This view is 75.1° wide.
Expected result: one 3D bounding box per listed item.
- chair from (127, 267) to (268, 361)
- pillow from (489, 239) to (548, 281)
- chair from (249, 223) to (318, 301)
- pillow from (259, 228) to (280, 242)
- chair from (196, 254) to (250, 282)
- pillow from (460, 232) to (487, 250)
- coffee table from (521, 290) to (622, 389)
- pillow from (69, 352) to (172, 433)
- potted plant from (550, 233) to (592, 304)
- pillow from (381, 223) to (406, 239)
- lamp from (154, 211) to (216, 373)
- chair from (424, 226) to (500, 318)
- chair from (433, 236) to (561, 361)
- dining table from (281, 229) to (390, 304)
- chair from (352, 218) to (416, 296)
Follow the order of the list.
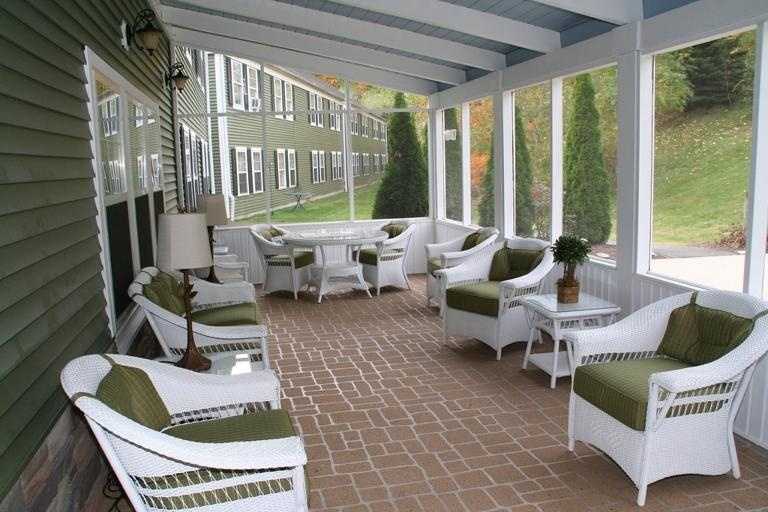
[{"bbox_3d":[-1.639,0.573,4.570,1.251,0.686,1.187,-3,21,-31],"label":"chair"},{"bbox_3d":[1.515,0.075,5.788,0.459,0.443,0.179,12,-4,40],"label":"pillow"},{"bbox_3d":[-1.625,0.061,8.128,1.051,0.999,1.069,4,8,12],"label":"chair"},{"bbox_3d":[-1.880,-0.360,8.262,0.078,0.175,0.563,-13,-5,28],"label":"pillow"},{"bbox_3d":[-2.143,0.093,6.908,0.517,0.552,0.439,-2,8,-5],"label":"chair"},{"bbox_3d":[1.223,-0.206,6.936,0.091,0.276,0.224,30,-32,-25],"label":"pillow"},{"bbox_3d":[1.741,0.677,4.969,0.989,0.848,0.886,-4,9,-25],"label":"coffee table"},{"bbox_3d":[-1.328,0.731,2.700,0.505,0.427,0.497,11,-27,-38],"label":"pillow"},{"bbox_3d":[1.762,0.136,4.892,0.449,0.622,0.428,2,-3,-35],"label":"potted plant"},{"bbox_3d":[0.165,-0.453,8.533,0.280,0.279,0.337,-3,-13,-4],"label":"pillow"},{"bbox_3d":[-1.494,0.316,3.825,0.384,1.300,0.621,-8,16,-23],"label":"lamp"},{"bbox_3d":[1.179,0.221,7.251,1.172,1.403,1.276,0,2,-11],"label":"chair"},{"bbox_3d":[1.318,0.414,5.681,1.224,1.125,1.209,-4,8,-17],"label":"chair"},{"bbox_3d":[-0.739,0.026,7.856,1.458,0.824,1.356,-3,9,-9],"label":"dining table"},{"bbox_3d":[0.031,-0.031,8.264,0.942,1.008,0.963,-4,11,-17],"label":"chair"}]
